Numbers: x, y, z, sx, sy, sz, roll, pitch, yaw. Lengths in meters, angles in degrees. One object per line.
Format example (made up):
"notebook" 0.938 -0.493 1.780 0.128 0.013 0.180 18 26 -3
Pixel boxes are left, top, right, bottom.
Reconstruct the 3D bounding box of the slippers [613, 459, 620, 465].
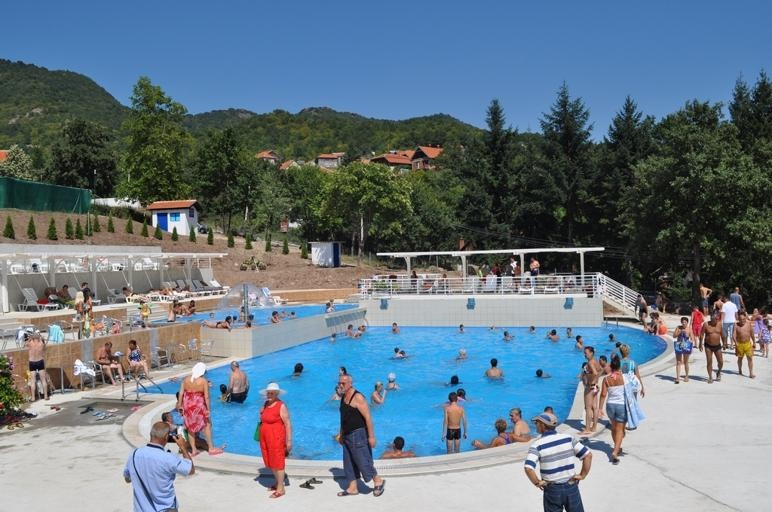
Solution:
"slippers" 6.953 6.197 22.428 0.103 0.197 0.287 -2 -4 -5

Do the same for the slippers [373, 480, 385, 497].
"slippers" -0.158 6.773 21.794 0.292 0.418 0.546 -1 -1 34

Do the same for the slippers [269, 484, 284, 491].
"slippers" -3.204 6.803 21.801 0.478 0.184 0.345 -1 -1 5

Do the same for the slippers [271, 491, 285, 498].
"slippers" -3.146 6.922 21.604 0.293 0.072 0.157 9 -10 -39

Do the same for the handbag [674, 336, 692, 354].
"handbag" 10.913 3.251 27.274 0.653 0.687 0.318 -2 2 26

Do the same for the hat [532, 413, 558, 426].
"hat" 4.316 4.384 19.969 0.465 0.273 0.346 7 4 28

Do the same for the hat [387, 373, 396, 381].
"hat" 0.241 5.101 31.228 0.300 0.184 0.409 0 5 -1

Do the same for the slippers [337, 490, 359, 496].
"slippers" -1.144 6.933 21.692 0.525 0.150 0.214 2 -4 -1

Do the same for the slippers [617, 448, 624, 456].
"slippers" 7.213 6.006 22.846 0.181 0.074 0.244 -16 18 31
